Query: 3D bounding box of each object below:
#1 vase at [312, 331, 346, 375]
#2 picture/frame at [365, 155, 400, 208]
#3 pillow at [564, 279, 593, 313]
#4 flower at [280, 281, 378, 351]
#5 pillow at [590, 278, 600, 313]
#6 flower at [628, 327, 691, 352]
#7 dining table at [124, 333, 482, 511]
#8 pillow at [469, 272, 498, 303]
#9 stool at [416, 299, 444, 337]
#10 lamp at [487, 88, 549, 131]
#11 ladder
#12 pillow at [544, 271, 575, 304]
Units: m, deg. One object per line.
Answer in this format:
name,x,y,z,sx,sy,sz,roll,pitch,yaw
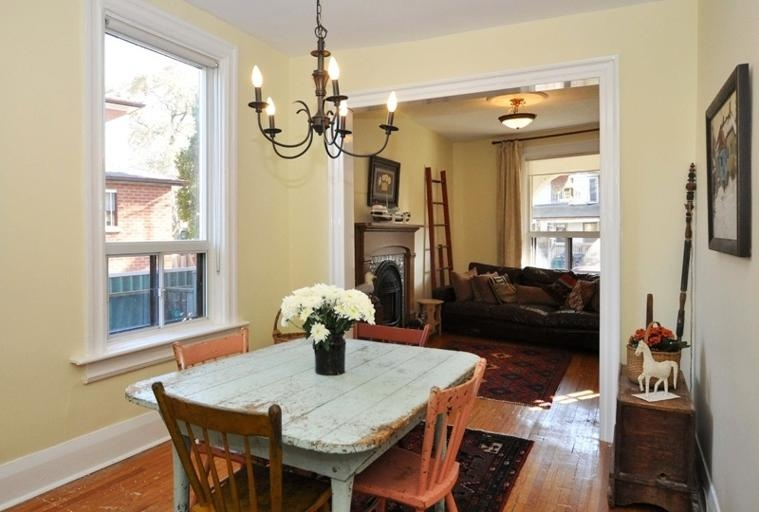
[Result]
vase,-0.289,0.583,3.223,0.231,0.246,0.228,0,-5,-3
picture/frame,0.023,-0.999,7.119,0.093,0.711,0.860,-1,-2,27
pillow,2.634,0.511,7.026,0.339,0.348,0.453,1,9,8
flower,-0.327,0.322,3.234,0.424,0.289,0.435,-2,-2,41
pillow,2.808,0.497,6.976,0.086,0.339,0.407,5,10,25
flower,1.921,0.564,3.693,0.261,0.117,0.213,-3,-2,-17
dining table,-0.363,0.779,3.111,1.098,0.698,1.465,-1,1,25
pillow,1.452,0.453,7.545,0.305,0.462,0.608,-6,7,24
stool,0.723,0.835,7.426,0.416,0.490,0.450,-3,-5,37
lamp,1.740,-1.848,6.728,0.718,0.371,0.724,-2,-2,29
ladder,0.955,-0.543,8.536,0.345,1.689,0.083,3,15,29
pillow,2.487,0.427,7.348,0.317,0.433,0.121,44,21,26
